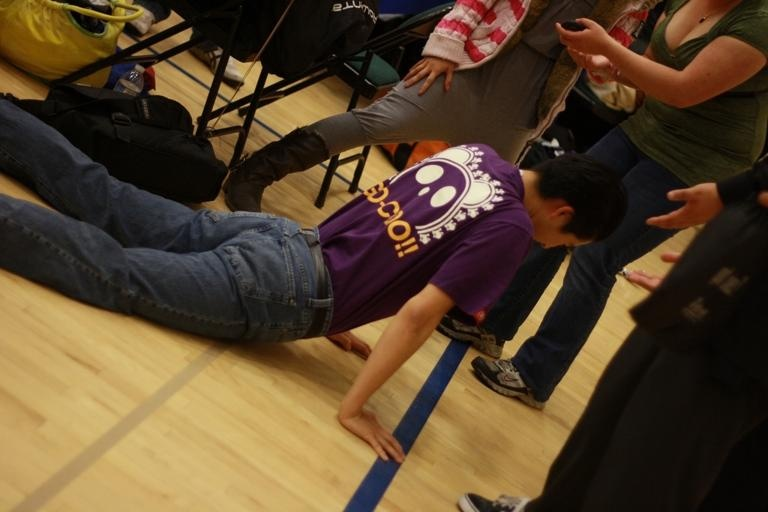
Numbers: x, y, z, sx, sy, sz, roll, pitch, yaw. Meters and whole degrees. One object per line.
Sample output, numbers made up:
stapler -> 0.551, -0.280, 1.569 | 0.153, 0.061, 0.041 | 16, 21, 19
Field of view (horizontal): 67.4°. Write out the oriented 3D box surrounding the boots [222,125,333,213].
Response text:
boots -> -0.466, -0.411, 2.305 | 0.219, 0.425, 0.463 | 19, -4, -26

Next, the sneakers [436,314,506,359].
sneakers -> 0.333, 0.311, 2.224 | 0.290, 0.140, 0.103 | 28, 21, -4

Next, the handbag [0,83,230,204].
handbag -> -0.954, -0.466, 2.116 | 0.688, 0.270, 0.426 | 23, 24, -32
